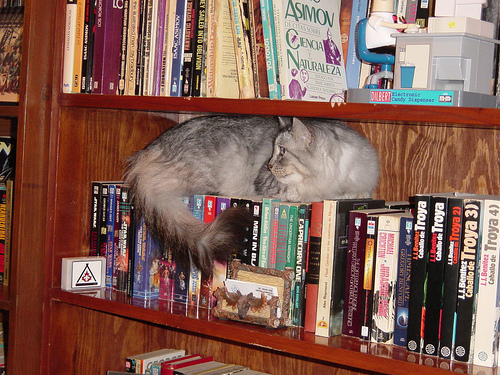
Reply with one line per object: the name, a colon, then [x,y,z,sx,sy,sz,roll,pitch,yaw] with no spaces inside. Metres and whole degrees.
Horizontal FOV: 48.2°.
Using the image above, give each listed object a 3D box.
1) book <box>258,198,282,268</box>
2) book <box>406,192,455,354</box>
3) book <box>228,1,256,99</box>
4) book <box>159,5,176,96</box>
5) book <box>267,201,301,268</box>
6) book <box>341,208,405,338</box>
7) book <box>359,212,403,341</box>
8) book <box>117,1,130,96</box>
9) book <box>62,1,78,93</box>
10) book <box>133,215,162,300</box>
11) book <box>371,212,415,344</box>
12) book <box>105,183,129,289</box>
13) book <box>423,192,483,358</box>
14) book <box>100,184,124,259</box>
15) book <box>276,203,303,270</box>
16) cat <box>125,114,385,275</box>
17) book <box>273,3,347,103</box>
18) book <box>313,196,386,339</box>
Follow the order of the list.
book: [0.049,0.108,1.295,0.018,0.139,0.201,4,89,9]
book: [0.369,0.177,1.129,0.087,0.284,0.299,3,94,18]
book: [-0.016,-0.326,1.288,0.025,0.187,0.262,-7,97,6]
book: [-0.199,-0.326,1.357,0.021,0.180,0.253,3,97,-13]
book: [0.080,0.110,1.277,0.064,0.124,0.131,3,84,18]
book: [0.266,0.185,1.189,0.030,0.244,0.334,3,89,26]
book: [0.281,0.189,1.180,0.070,0.232,0.242,3,95,5]
book: [-0.318,-0.346,1.410,0.028,0.202,0.276,4,95,-12]
book: [-0.470,-0.369,1.460,0.030,0.194,0.325,2,95,-21]
book: [-0.279,0.198,1.534,0.060,0.184,0.185,5,82,8]
book: [0.303,0.192,1.167,0.073,0.241,0.255,2,87,20]
book: [-0.358,0.125,1.513,0.082,0.243,0.251,2,95,-10]
book: [0.408,0.178,1.112,0.088,0.290,0.313,2,93,23]
book: [-0.374,0.085,1.523,0.060,0.174,0.188,1,95,-19]
book: [0.078,0.104,1.339,0.085,0.141,0.144,5,92,10]
cat: [0.035,-0.047,1.710,0.678,0.871,0.258,-1,112,2]
book: [0.133,-0.307,1.301,0.033,0.222,0.332,-13,77,43]
book: [0.216,0.182,1.210,0.037,0.271,0.385,3,92,23]
